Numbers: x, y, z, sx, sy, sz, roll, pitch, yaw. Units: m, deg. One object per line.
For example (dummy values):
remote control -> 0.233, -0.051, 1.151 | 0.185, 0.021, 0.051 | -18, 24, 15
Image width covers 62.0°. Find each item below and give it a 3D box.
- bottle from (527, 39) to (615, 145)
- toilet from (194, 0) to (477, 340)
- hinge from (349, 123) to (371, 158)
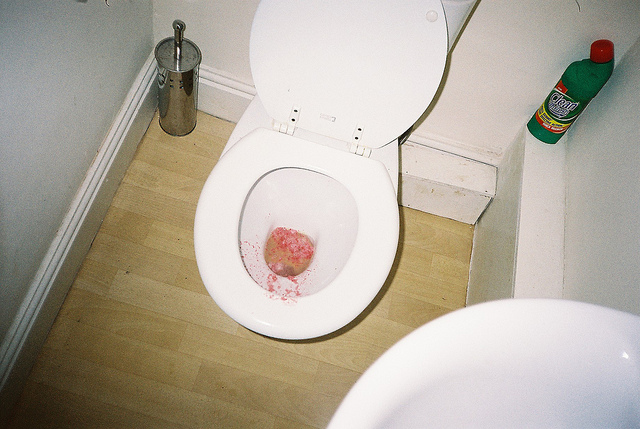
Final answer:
bottle -> 0.706, -0.333, 1.488 | 0.116, 0.324, 0.085 | 39, 60, 9
toilet -> 0.035, -0.133, 1.498 | 0.381, 0.728, 0.750 | 17, 74, 5
hinge -> 0.116, -0.207, 1.486 | 0.056, 0.083, 0.021 | 14, 20, 3
